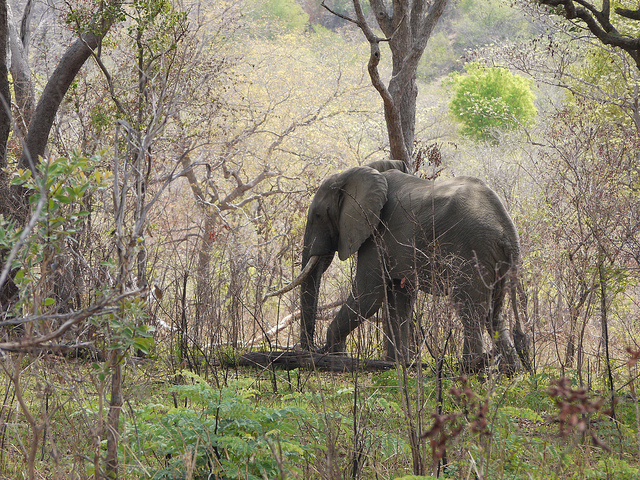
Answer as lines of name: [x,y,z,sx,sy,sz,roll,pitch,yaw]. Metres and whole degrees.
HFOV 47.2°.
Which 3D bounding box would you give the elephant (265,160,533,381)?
elephant: [0.477,0.234,9.374,4.211,3.097,1.946,3,-2,39]
